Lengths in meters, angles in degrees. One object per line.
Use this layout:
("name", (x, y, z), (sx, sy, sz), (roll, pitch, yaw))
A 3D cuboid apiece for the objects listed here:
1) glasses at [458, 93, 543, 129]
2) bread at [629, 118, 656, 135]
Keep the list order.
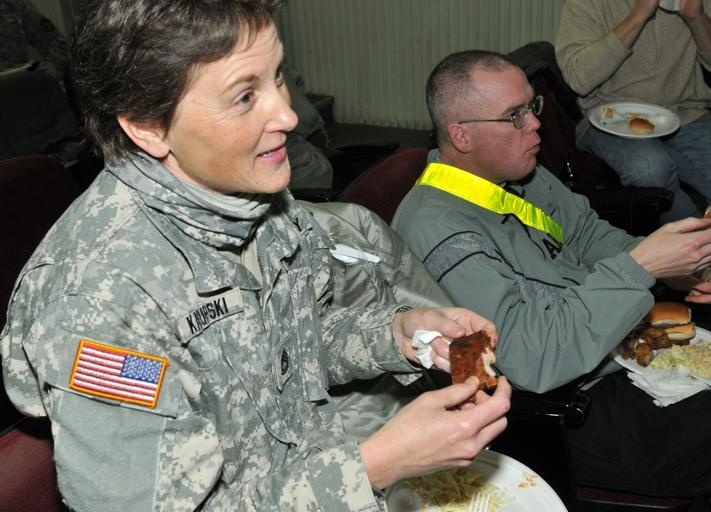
("glasses", (0.637, -0.564, 2.317), (0.210, 0.057, 0.209), (-2, 27, 12))
("bread", (1.692, -0.765, 3.418), (0.116, 0.036, 0.120), (20, 50, 17))
